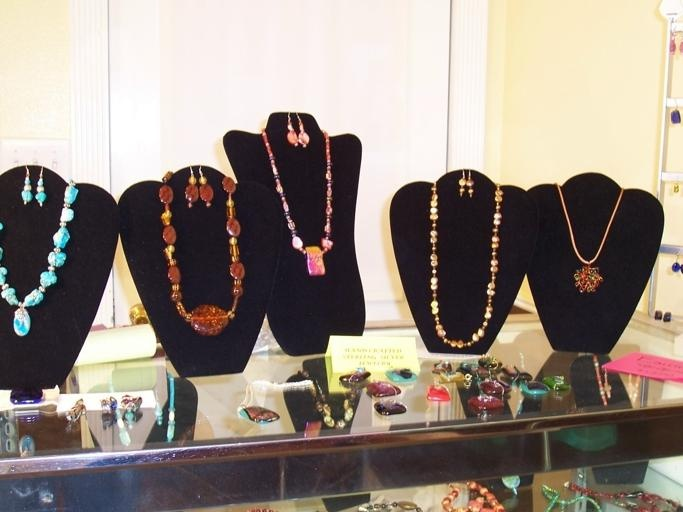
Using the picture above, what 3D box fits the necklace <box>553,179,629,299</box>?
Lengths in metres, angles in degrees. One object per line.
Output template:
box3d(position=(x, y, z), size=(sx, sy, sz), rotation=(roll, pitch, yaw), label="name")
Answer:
box3d(position=(0.750, -0.053, 1.917), size=(0.196, 0.319, 0.088), rotation=(1, 10, 19), label="necklace")

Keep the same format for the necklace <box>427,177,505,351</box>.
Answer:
box3d(position=(0.374, 0.029, 1.909), size=(0.214, 0.486, 0.113), rotation=(0, 9, 16), label="necklace")
